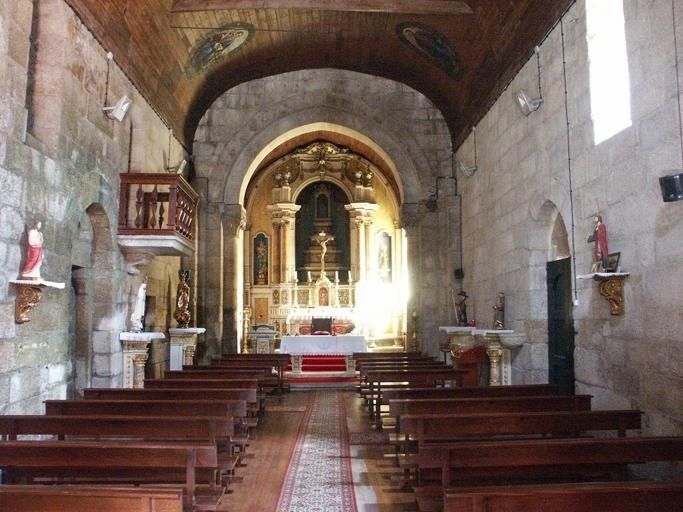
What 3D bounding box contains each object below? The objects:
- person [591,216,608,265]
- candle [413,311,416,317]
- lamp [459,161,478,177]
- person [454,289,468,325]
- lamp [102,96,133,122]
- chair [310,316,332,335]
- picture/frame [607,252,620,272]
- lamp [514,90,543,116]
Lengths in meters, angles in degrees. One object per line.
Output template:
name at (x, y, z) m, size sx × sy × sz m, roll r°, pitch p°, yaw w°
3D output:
person at (3.692, -0.212, 9.433) m, size 0.224 × 0.788 × 0.604 m, roll -3°, pitch -1°, yaw 22°
candle at (2.072, 1.616, 18.521) m, size 0.113 × 0.120 × 0.063 m, roll -7°, pitch -15°, yaw 31°
lamp at (3.201, -2.206, 16.619) m, size 0.362 × 0.407 × 1.728 m, roll -4°, pitch -1°, yaw 8°
person at (3.051, 1.281, 16.637) m, size 0.315 × 0.886 × 1.452 m, roll -3°, pitch 0°, yaw 10°
lamp at (-4.104, -2.744, 12.226) m, size 0.410 × 0.389 × 0.391 m, roll -4°, pitch -1°, yaw -1°
chair at (-0.488, 1.959, 18.570) m, size 0.440 × 0.380 × 0.456 m, roll -1°, pitch -7°, yaw -1°
picture/frame at (3.815, 0.078, 9.264) m, size 0.082 × 0.266 × 0.195 m, roll 17°, pitch -6°, yaw -20°
lamp at (3.429, -2.866, 12.085) m, size 0.365 × 0.469 × 0.854 m, roll -4°, pitch -1°, yaw 7°
